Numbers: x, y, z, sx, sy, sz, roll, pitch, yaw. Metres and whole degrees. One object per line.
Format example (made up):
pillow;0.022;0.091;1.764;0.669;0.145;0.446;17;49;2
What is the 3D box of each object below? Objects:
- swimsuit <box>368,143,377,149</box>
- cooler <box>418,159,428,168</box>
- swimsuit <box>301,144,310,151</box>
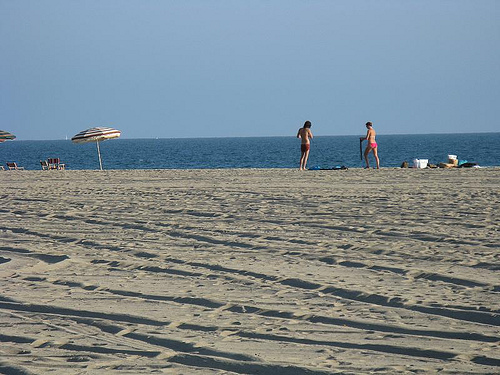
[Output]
swimsuit;3.551;-1.218;22.323;0.167;0.097;0.154;7;11;37
cooler;5.185;-0.721;23.349;0.281;0.274;0.341;-4;9;-27
swimsuit;1.521;-1.136;21.879;0.352;0.241;0.181;1;0;11
